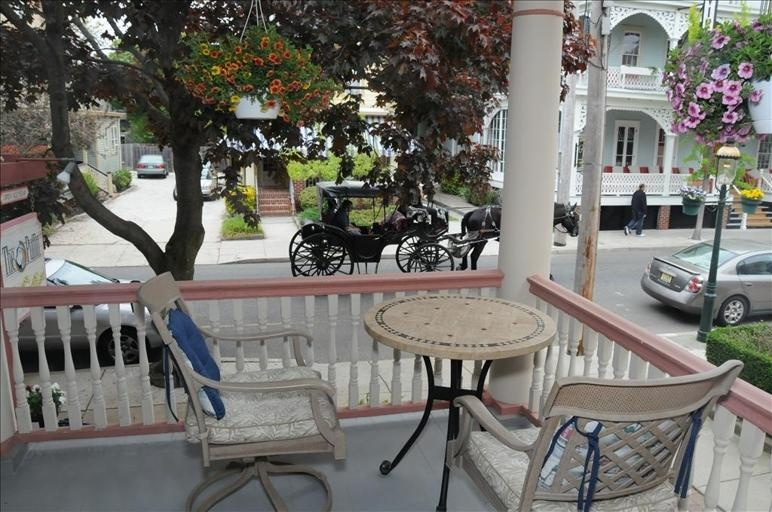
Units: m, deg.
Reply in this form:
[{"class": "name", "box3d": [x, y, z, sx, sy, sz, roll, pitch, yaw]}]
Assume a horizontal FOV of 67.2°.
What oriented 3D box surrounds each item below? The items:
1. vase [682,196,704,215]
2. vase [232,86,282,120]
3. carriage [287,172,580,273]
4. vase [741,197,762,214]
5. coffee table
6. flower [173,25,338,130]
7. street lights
[{"class": "vase", "box3d": [3.605, -0.552, 6.875, 0.276, 0.229, 0.278, -2, 10, -10]}, {"class": "vase", "box3d": [-1.054, -1.228, 4.745, 0.276, 0.120, 0.195, -4, 52, -9]}, {"class": "carriage", "box3d": [0.034, -0.534, 12.925, 4.361, 2.087, 1.416, -3, 13, -10]}, {"class": "vase", "box3d": [2.818, -0.391, 4.483, 0.122, 0.094, 0.124, -3, 13, -9]}, {"class": "coffee table", "box3d": [0.531, 1.000, 4.847, 1.575, 1.401, 1.472, -13, 26, -42]}, {"class": "flower", "box3d": [-1.223, -1.539, 5.223, 1.361, 0.798, 1.106, 3, 7, -18]}, {"class": "street lights", "box3d": [5.788, -0.150, 10.098, 0.539, 3.677, 0.662, 2, 11, 9]}]
